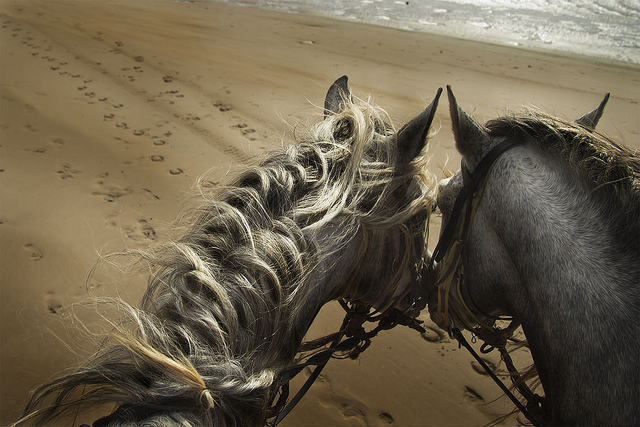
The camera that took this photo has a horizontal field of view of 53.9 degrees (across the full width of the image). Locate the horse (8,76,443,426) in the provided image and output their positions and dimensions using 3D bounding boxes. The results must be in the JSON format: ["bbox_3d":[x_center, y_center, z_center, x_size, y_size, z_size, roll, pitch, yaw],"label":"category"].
[{"bbox_3d":[-0.516,0.411,5.815,3.030,3.494,1.213,7,21,-21],"label":"horse"}]
